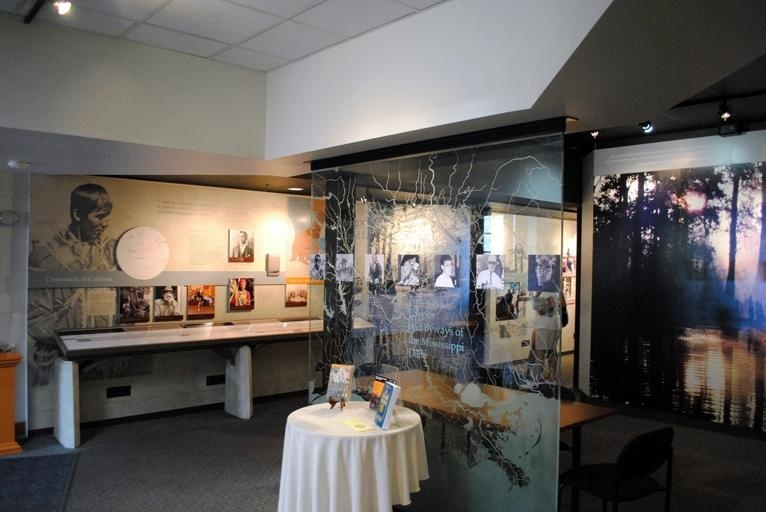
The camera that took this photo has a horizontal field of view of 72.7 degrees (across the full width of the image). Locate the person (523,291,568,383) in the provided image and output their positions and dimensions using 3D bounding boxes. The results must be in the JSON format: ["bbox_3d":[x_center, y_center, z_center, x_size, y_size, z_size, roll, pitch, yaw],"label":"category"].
[{"bbox_3d":[1.416,0.696,4.536,0.266,0.809,0.158,4,9,30],"label":"person"}]

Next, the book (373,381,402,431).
[{"bbox_3d":[0.026,1.297,4.484,0.130,0.456,0.328,6,1,-17],"label":"book"}]

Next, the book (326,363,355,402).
[{"bbox_3d":[-0.364,1.185,4.813,0.273,0.304,0.080,-6,-15,25],"label":"book"}]
